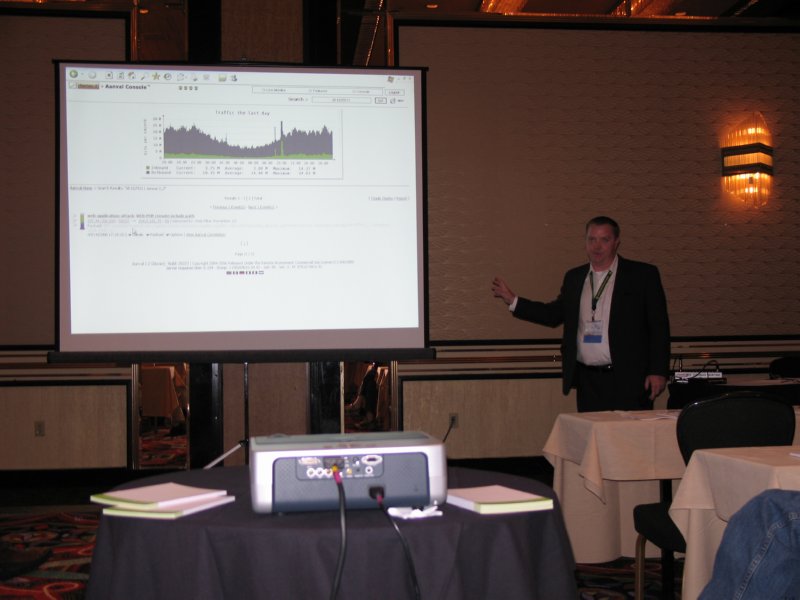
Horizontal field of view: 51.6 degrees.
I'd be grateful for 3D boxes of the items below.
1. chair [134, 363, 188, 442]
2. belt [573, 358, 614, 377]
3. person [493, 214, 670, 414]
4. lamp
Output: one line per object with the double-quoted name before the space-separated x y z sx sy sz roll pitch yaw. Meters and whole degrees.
"chair" -1.848 0.793 6.448 0.496 0.650 0.540 2 -12 -16
"belt" 1.208 0.438 5.220 0.063 0.098 0.288 -7 8 -35
"person" 1.205 0.142 5.838 1.098 2.029 0.690 -10 -19 33
"lamp" 2.844 -1.141 6.809 0.389 0.768 0.253 0 7 20
